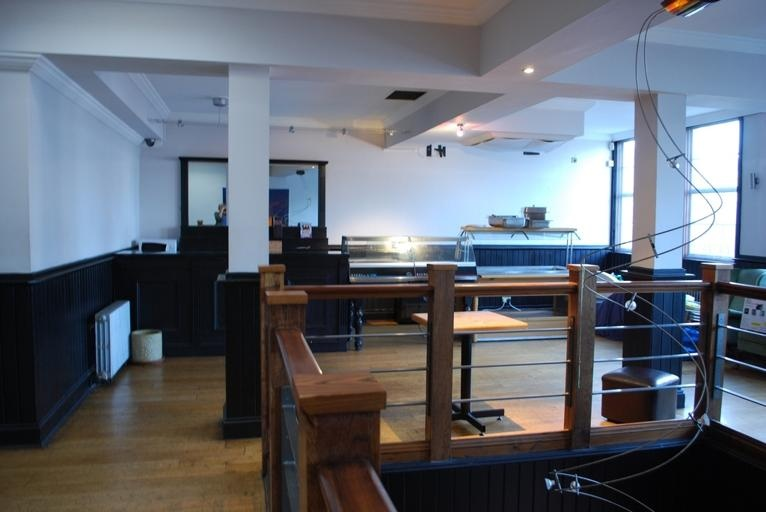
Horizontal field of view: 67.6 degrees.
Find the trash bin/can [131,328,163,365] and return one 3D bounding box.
[{"bbox_3d":[-2.774,1.015,6.796,0.342,0.375,0.361,12,18,16],"label":"trash bin/can"}]

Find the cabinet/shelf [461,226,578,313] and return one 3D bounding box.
[{"bbox_3d":[2.258,0.113,9.481,1.728,1.154,1.017,1,5,5],"label":"cabinet/shelf"}]

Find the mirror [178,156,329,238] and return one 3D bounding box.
[{"bbox_3d":[-1.981,-0.835,8.817,2.185,1.481,0.156,1,23,-12],"label":"mirror"}]

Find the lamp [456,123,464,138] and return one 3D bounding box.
[{"bbox_3d":[1.006,-1.695,7.591,0.121,0.162,0.122,3,6,12],"label":"lamp"}]

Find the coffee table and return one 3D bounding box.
[{"bbox_3d":[0.800,1.122,5.595,1.056,1.015,1.135,-1,0,-24],"label":"coffee table"}]
